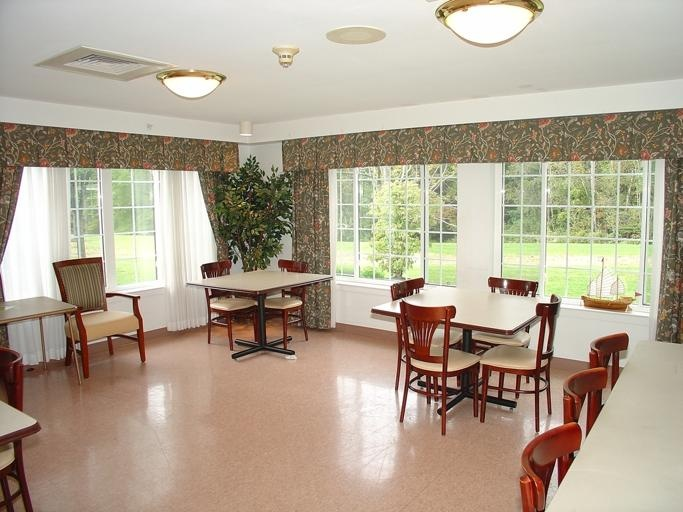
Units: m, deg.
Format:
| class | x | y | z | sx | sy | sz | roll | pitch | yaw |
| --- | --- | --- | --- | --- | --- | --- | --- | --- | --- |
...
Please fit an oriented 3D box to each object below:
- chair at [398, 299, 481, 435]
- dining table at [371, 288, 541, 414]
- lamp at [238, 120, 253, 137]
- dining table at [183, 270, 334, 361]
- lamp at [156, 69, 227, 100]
| class | x | y | z | sx | sy | sz | roll | pitch | yaw |
| --- | --- | --- | --- | --- | --- | --- | --- | --- | --- |
| chair | 0.902 | 0.936 | 4.636 | 0.780 | 1.168 | 0.943 | 3 | 13 | 16 |
| dining table | 1.308 | 1.003 | 4.958 | 1.413 | 0.961 | 1.328 | 2 | 8 | 30 |
| lamp | -1.298 | -1.731 | 6.837 | 0.256 | 0.225 | 0.231 | 2 | 4 | 10 |
| dining table | -1.081 | 0.603 | 6.445 | 1.372 | 0.850 | 1.360 | 4 | 6 | 34 |
| lamp | -1.180 | -1.420 | 3.993 | 0.517 | 0.225 | 0.327 | 4 | 12 | 23 |
